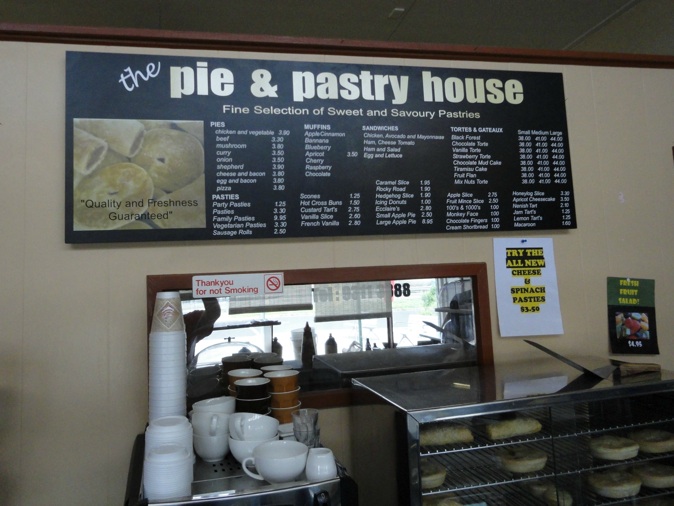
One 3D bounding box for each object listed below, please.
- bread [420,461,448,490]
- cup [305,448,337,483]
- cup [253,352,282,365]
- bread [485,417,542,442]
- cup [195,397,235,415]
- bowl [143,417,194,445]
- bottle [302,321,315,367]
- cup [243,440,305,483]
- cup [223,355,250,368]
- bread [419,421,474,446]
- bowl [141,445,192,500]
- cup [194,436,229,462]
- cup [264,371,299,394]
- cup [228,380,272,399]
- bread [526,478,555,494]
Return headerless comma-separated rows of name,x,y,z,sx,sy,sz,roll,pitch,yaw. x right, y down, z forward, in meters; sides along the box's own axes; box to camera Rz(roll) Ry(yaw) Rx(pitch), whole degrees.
bread,0.413,0.950,2.359,0.097,0.050,0.123,0,-14,-8
cup,-0.071,0.868,2.253,0.126,0.126,0.127,-4,1,0
cup,-0.361,0.551,2.846,0.079,0.040,0.076,1,-1,0
bread,0.779,0.774,2.426,0.222,0.074,0.101,-2,-3,-7
cup,-0.557,0.694,2.505,0.096,0.042,0.093,-7,-9,-1
bowl,-0.695,0.741,2.280,0.120,0.117,0.123,0,-6,0
bottle,-0.152,0.487,2.882,0.077,0.236,0.018,-4,1,-22
cup,-0.252,0.840,2.251,0.186,0.088,0.154,-3,-8,-6
cup,-0.512,0.556,2.817,0.087,0.065,0.075,1,-3,4
bread,0.473,0.780,2.370,0.208,0.103,0.062,-1,-36,-5
bowl,-0.648,0.854,2.213,0.179,0.212,0.184,1,0,0
cup,-0.551,0.825,2.375,0.121,0.087,0.125,0,-9,0
cup,-0.247,0.618,2.657,0.111,0.054,0.109,0,-5,0
cup,-0.397,0.645,2.609,0.166,0.100,0.095,-5,1,-7
bread,0.916,1.051,2.470,0.084,0.031,0.089,-8,-6,40
